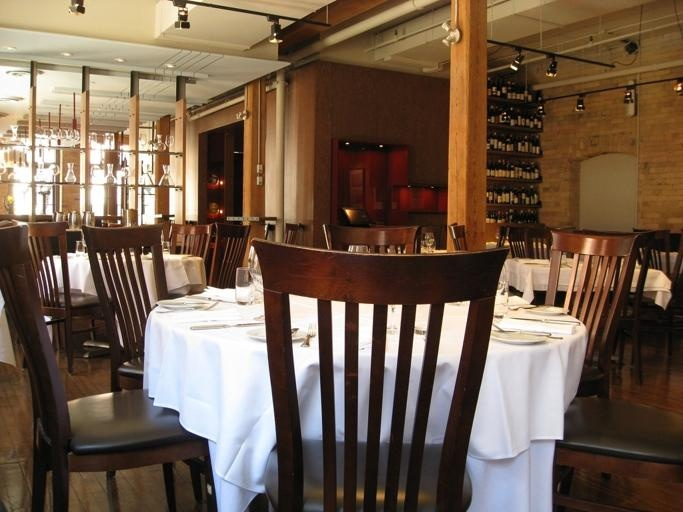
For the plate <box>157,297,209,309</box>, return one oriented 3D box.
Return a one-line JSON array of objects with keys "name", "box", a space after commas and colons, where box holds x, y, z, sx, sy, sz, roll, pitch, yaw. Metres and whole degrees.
[{"name": "plate", "box": [-0.690, 0.217, 2.660, 0.153, 0.034, 0.095, 9, 6, -40]}]
